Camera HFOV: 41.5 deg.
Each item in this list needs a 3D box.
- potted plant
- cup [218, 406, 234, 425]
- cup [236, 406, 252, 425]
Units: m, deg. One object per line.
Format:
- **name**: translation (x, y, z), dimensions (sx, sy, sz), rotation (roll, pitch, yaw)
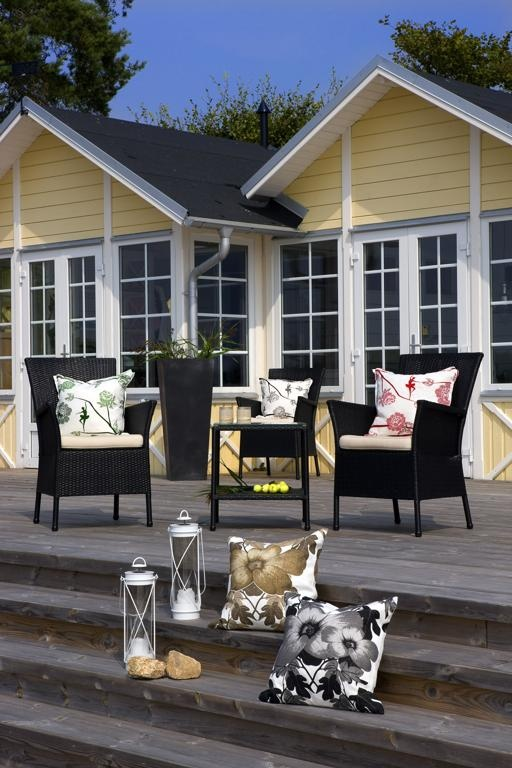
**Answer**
- **potted plant**: translation (-0.687, 0.216, 6.929), dimensions (1.378, 1.777, 1.193), rotation (0, -6, -6)
- **cup**: translation (-0.245, 0.258, 5.663), dimensions (0.168, 0.164, 0.122), rotation (1, 2, 1)
- **cup**: translation (-0.080, 0.217, 4.706), dimensions (0.098, 0.113, 0.100), rotation (0, -5, 0)
